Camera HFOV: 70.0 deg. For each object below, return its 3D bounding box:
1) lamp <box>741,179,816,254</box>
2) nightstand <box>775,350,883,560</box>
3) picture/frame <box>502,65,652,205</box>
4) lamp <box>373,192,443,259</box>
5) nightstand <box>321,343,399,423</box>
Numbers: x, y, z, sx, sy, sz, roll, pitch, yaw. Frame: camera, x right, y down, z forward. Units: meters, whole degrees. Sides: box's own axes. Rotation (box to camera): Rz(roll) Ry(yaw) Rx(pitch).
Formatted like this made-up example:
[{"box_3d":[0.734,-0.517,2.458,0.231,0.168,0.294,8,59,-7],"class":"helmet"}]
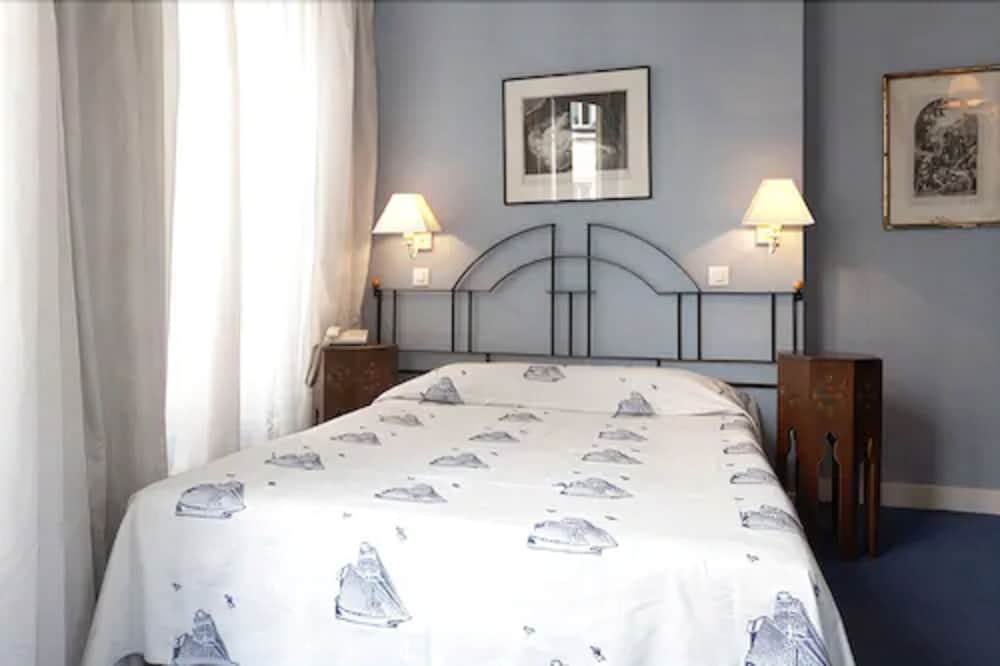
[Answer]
[{"box_3d":[1.460,-0.589,3.984,0.389,0.491,0.390,0,-1,4],"class":"lamp"},{"box_3d":[1.714,0.613,3.720,0.518,0.970,0.531,1,0,12],"class":"nightstand"},{"box_3d":[0.444,-1.159,4.263,0.889,0.773,0.020,-1,-3,11],"class":"picture/frame"},{"box_3d":[-0.555,-0.633,4.344,0.351,0.423,0.372,3,8,24],"class":"lamp"},{"box_3d":[-0.814,0.294,4.239,0.388,0.439,0.415,1,1,-9],"class":"nightstand"}]
